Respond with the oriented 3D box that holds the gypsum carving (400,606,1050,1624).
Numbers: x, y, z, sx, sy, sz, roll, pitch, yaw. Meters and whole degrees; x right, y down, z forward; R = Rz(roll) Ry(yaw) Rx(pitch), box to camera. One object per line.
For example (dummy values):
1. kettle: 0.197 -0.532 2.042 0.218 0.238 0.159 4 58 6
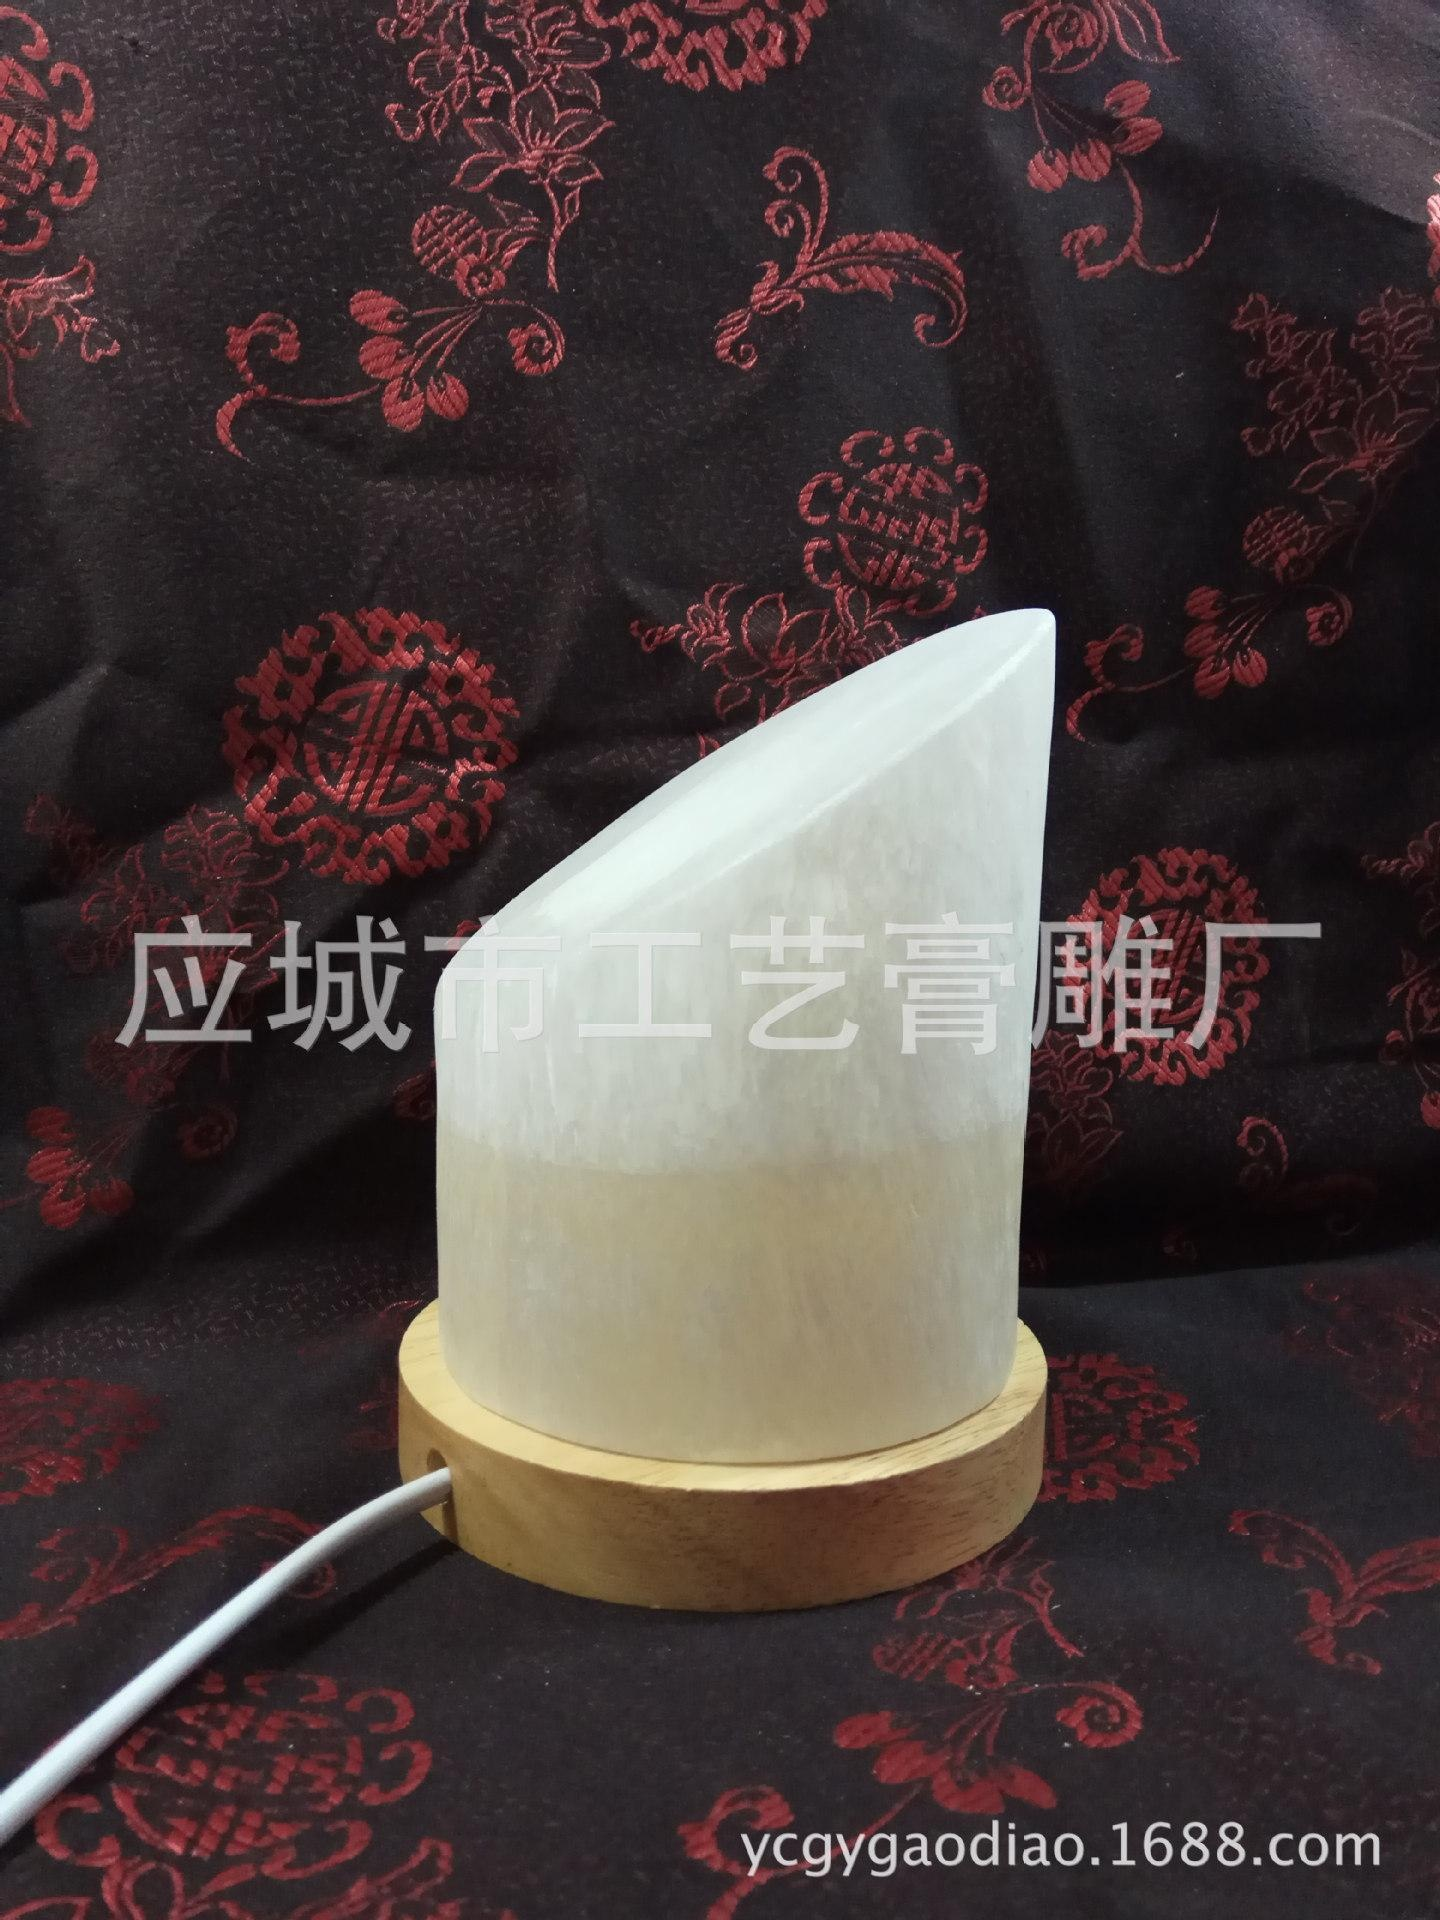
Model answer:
1. gypsum carving: 0.002 0.035 0.944 0.402 0.381 0.464 3 99 9
